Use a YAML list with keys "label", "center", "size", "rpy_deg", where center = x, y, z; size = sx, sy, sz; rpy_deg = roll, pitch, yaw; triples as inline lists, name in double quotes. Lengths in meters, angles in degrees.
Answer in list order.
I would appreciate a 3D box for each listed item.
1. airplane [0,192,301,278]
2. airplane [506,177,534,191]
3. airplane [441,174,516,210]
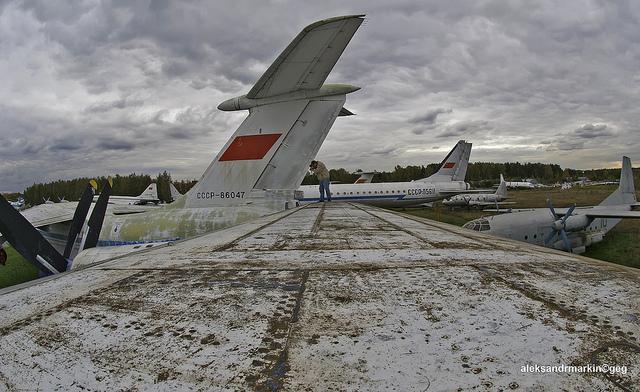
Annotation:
- label: "airplane"
  center: [-2.736, 0.545, 4.770]
  size: [3.216, 1.045, 3.120]
  rpy_deg: [-2, 4, 21]
- label: "airplane"
  center: [50.358, -2.854, 73.460]
  size: [6.435, 2.261, 5.673]
  rpy_deg: [-2, 7, 30]
- label: "airplane"
  center: [16.258, -0.161, 29.630]
  size: [6.738, 2.262, 6.264]
  rpy_deg: [-6, 8, -9]
